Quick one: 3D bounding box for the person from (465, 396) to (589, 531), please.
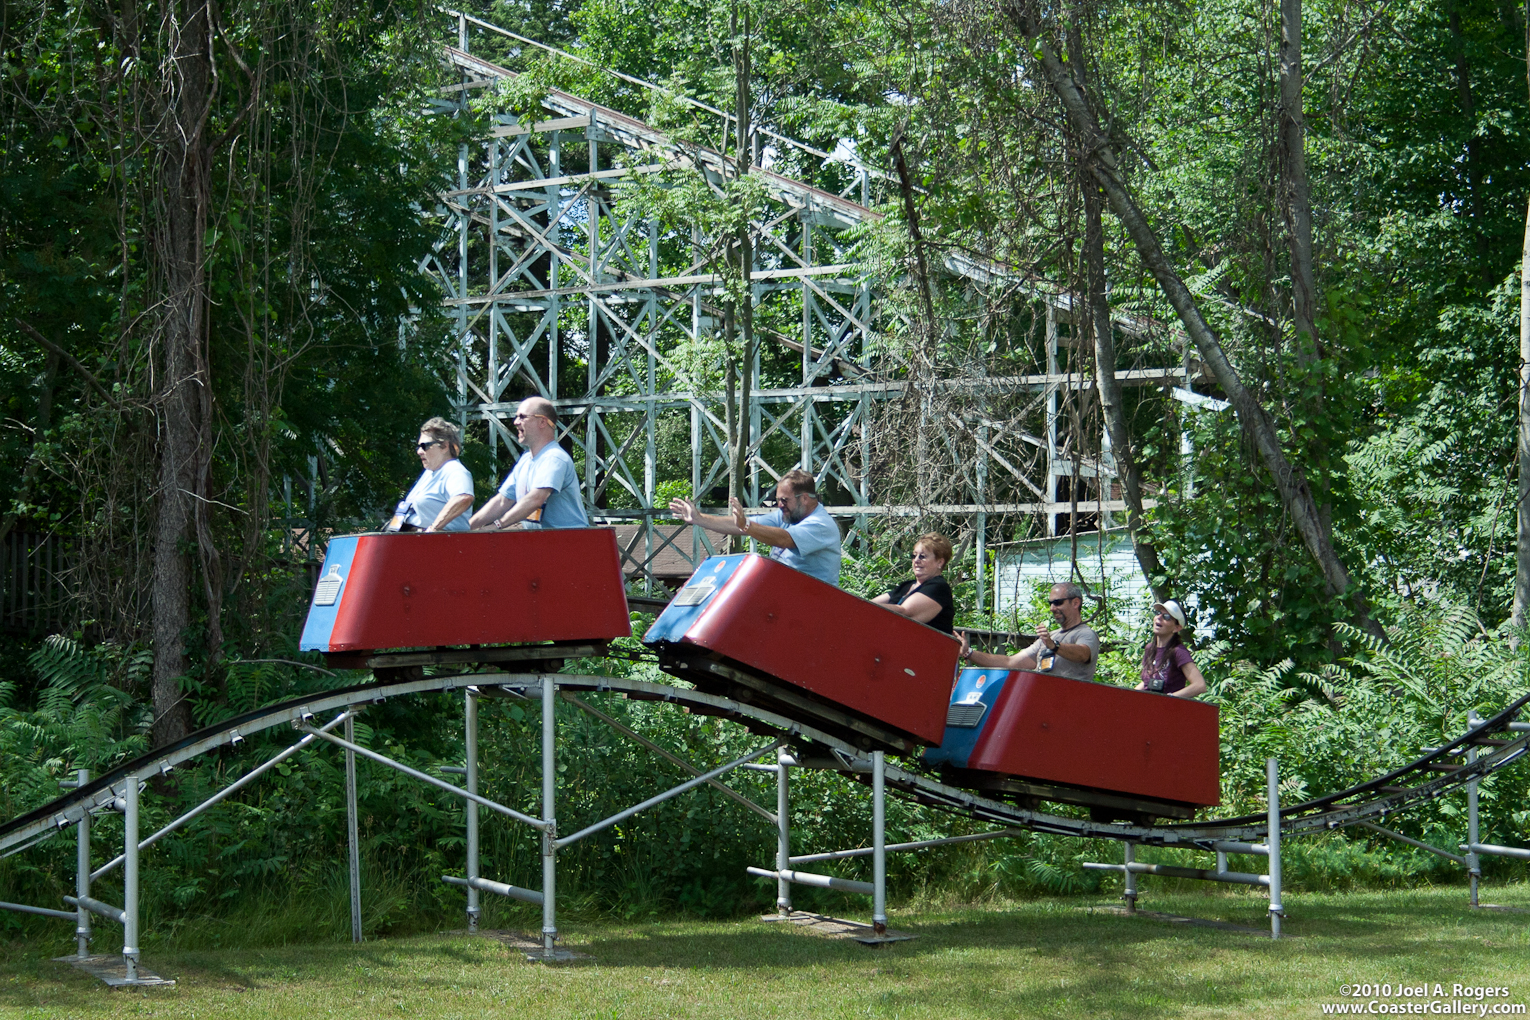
[{"bbox_3d":[-2.319,-0.502,27.170,1.072,1.446,0.750,-3,-8,23],"label":"person"}]

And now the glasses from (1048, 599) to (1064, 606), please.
[{"bbox_3d":[3.038,0.972,28.331,0.094,0.090,0.175,5,-9,-30],"label":"glasses"}]

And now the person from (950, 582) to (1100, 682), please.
[{"bbox_3d":[2.894,1.250,28.396,1.182,1.130,1.151,0,-8,5],"label":"person"}]

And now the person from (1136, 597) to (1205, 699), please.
[{"bbox_3d":[4.276,1.489,28.623,0.539,1.078,0.885,3,-8,-21],"label":"person"}]

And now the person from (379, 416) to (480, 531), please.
[{"bbox_3d":[-3.316,-0.359,27.208,0.732,1.241,0.975,6,-10,-37],"label":"person"}]

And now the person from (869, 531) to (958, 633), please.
[{"bbox_3d":[1.556,0.746,27.735,0.718,1.068,1.019,0,-8,2],"label":"person"}]
